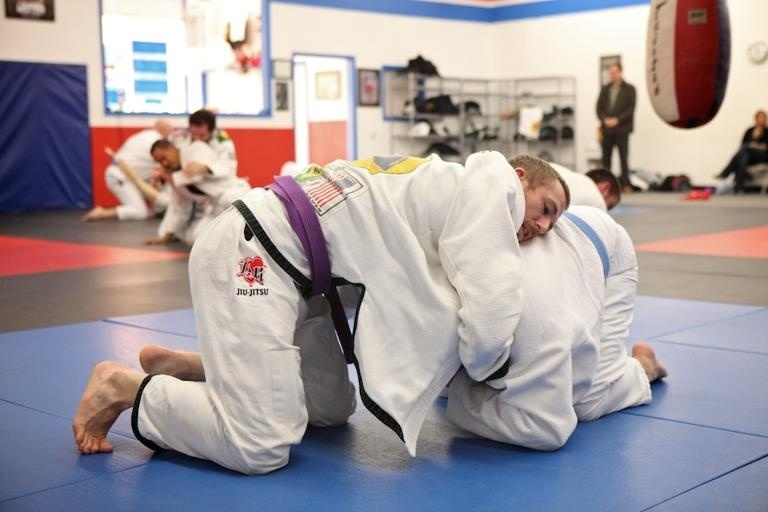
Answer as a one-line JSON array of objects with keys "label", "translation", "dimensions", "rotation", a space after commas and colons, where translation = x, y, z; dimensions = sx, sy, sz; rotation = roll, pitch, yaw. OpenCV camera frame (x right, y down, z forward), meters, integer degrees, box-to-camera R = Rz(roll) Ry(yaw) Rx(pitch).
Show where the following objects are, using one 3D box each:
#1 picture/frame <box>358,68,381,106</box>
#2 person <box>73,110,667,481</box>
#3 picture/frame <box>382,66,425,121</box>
[{"label": "picture/frame", "translation": [-0.278, -3.030, 12.049], "dimensions": [0.528, 0.651, 0.126], "rotation": [-8, 16, -31]}, {"label": "person", "translation": [0.028, 0.149, 2.244], "dimensions": [1.990, 0.993, 0.700], "rotation": [-4, 14, -18]}, {"label": "picture/frame", "translation": [0.410, -3.056, 12.583], "dimensions": [0.936, 1.014, 0.786], "rotation": [-7, 11, -36]}]
